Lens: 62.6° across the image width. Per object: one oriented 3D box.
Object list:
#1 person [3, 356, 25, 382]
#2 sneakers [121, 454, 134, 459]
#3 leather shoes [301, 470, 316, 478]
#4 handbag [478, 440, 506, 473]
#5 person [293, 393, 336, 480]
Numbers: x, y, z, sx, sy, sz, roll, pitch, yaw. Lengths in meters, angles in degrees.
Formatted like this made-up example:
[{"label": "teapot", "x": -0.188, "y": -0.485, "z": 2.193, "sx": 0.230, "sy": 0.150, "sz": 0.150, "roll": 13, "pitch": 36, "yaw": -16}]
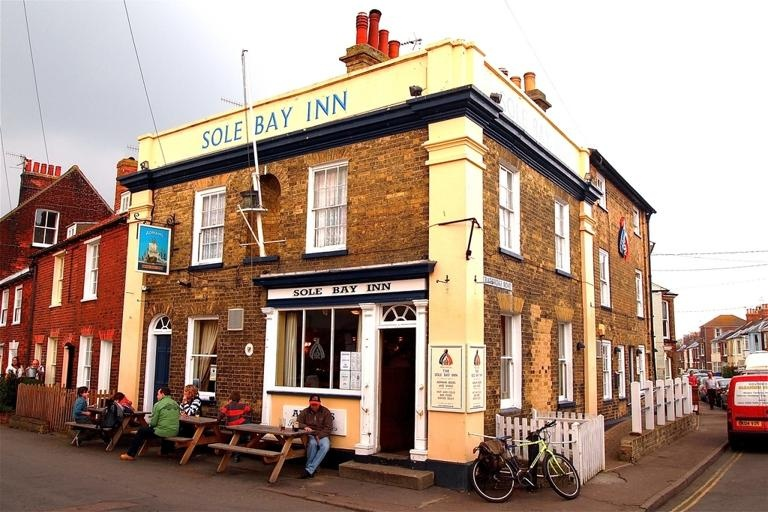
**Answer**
[{"label": "person", "x": -16.359, "y": 5.008, "z": 27.980, "sx": 0.684, "sy": 1.722, "sz": 0.685, "roll": 13, "pitch": -58, "yaw": -31}, {"label": "sneakers", "x": -7.259, "y": 5.698, "z": 17.858, "sx": 0.296, "sy": 0.133, "sz": 0.153, "roll": 14, "pitch": -15, "yaw": -10}, {"label": "leather shoes", "x": -1.971, "y": 5.735, "z": 16.579, "sx": 0.134, "sy": 0.170, "sz": 0.383, "roll": -1, "pitch": -5, "yaw": 40}, {"label": "handbag", "x": 2.626, "y": 4.893, "z": 15.419, "sx": 0.687, "sy": 0.712, "sz": 0.480, "roll": 4, "pitch": -14, "yaw": -43}, {"label": "person", "x": -1.855, "y": 4.807, "z": 16.883, "sx": 0.893, "sy": 2.009, "sz": 0.683, "roll": 2, "pitch": -3, "yaw": -8}]
